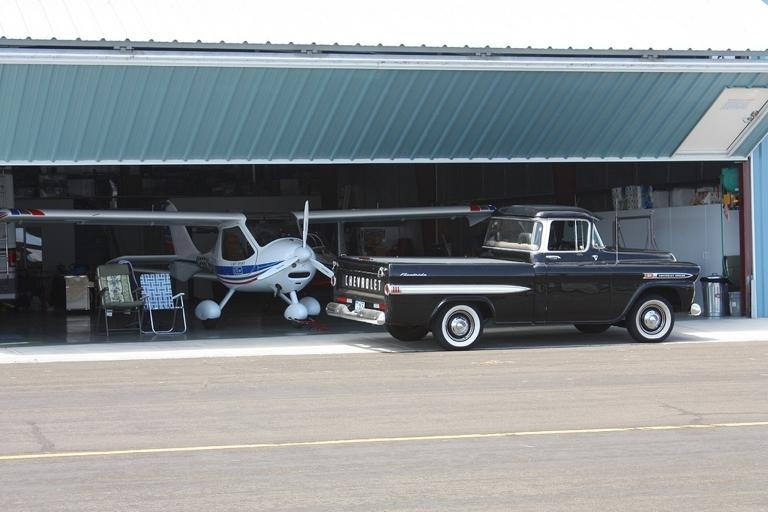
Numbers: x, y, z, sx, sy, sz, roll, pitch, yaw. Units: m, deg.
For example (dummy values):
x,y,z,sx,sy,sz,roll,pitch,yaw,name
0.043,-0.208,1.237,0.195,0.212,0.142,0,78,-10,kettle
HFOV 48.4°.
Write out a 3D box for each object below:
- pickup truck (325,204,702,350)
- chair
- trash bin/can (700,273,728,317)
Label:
x,y,z,sx,sy,sz,roll,pitch,yaw,name
2.549,0.313,16.492,6.452,2.266,2.903,-2,2,-13,pickup truck
-5.361,0.895,18.638,1.658,1.599,2.275,1,-3,-35,chair
7.497,0.920,19.455,0.591,0.949,0.401,1,5,20,trash bin/can
